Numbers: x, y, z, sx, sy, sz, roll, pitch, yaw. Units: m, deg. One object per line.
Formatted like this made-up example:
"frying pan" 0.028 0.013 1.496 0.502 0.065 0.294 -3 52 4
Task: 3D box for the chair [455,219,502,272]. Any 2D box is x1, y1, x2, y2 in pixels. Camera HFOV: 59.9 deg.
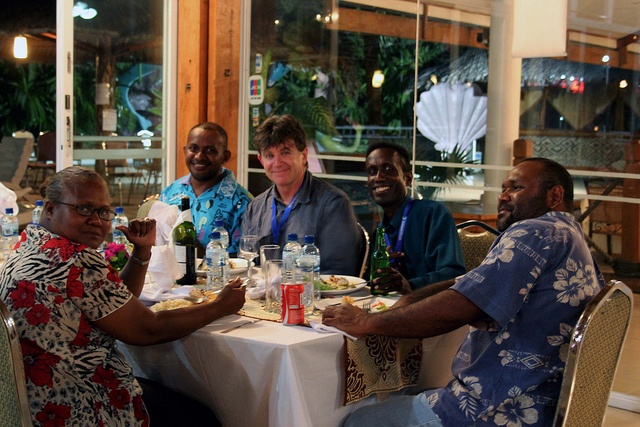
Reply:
"chair" 0.956 0.183 3.335 0.281 0.354 0.292 3 -4 -17

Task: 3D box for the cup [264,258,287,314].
"cup" -0.221 0.331 2.528 0.089 0.222 0.101 -11 -16 43

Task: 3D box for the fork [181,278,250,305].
"fork" -0.470 0.350 2.497 0.270 0.039 0.053 -15 32 -14

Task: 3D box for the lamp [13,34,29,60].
"lamp" -4.858 -2.714 9.009 0.170 0.384 0.416 -2 5 -24

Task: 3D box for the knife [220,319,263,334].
"knife" -0.329 0.450 2.276 0.039 0.029 0.268 44 20 28

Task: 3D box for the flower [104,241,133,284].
"flower" -0.974 0.229 2.679 0.138 0.118 0.143 -22 19 -38
